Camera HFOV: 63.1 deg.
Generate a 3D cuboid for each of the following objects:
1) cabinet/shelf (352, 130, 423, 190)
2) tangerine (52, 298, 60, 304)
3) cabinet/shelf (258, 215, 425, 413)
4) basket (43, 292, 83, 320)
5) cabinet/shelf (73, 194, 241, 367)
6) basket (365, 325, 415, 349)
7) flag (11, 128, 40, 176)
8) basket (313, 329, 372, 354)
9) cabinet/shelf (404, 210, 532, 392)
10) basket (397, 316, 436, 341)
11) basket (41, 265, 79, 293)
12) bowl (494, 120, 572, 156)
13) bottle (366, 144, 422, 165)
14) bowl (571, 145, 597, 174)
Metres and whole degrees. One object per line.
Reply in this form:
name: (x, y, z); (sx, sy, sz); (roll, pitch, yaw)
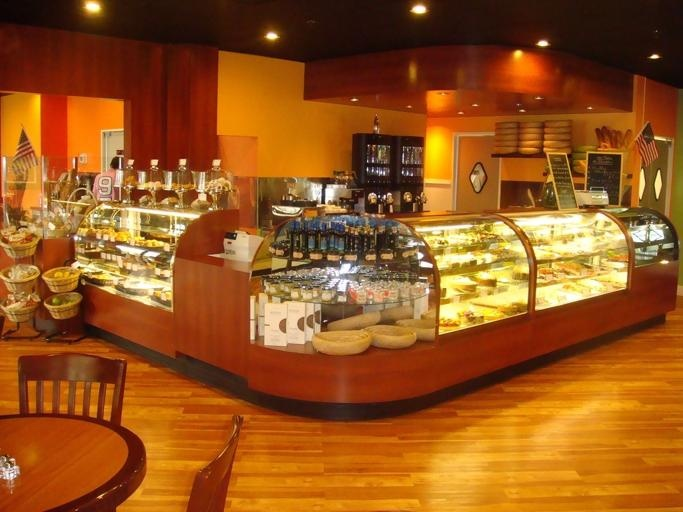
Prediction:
cabinet/shelf: (0.733, -1.565, 9.219); (1.553, 0.768, 0.428); (-8, 13, -43)
tangerine: (-3.261, 0.507, 6.288); (0.090, 0.068, 0.097); (-4, 13, -25)
cabinet/shelf: (0.010, 0.121, 4.822); (1.464, 1.170, 0.315); (7, -15, 1)
basket: (-3.206, 0.553, 6.336); (0.402, 0.154, 0.365); (-5, 8, -26)
cabinet/shelf: (-2.128, 0.207, 6.430); (0.984, 1.453, 2.515); (-6, 8, -43)
basket: (0.405, 0.701, 4.813); (0.411, 0.138, 0.304); (10, 15, 36)
flag: (-3.964, -1.257, 6.865); (0.284, 0.552, 0.582); (-5, 14, -27)
basket: (0.003, 0.730, 4.715); (0.503, 0.127, 0.329); (1, 12, -2)
cabinet/shelf: (1.175, 0.329, 5.643); (2.215, 1.325, 1.128); (-10, 17, -40)
basket: (0.669, 0.640, 4.832); (0.278, 0.090, 0.192); (0, 11, 19)
basket: (-3.246, 0.266, 6.358); (0.370, 0.157, 0.353); (-12, 20, -40)
bowl: (2.920, -1.783, 8.524); (0.358, 0.569, 1.160); (-11, 17, -43)
bottle: (0.869, -1.638, 9.105); (1.185, 0.310, 0.133); (-9, 16, -40)
bowl: (3.492, -1.380, 8.056); (0.458, 0.364, 0.459); (0, 8, 0)
